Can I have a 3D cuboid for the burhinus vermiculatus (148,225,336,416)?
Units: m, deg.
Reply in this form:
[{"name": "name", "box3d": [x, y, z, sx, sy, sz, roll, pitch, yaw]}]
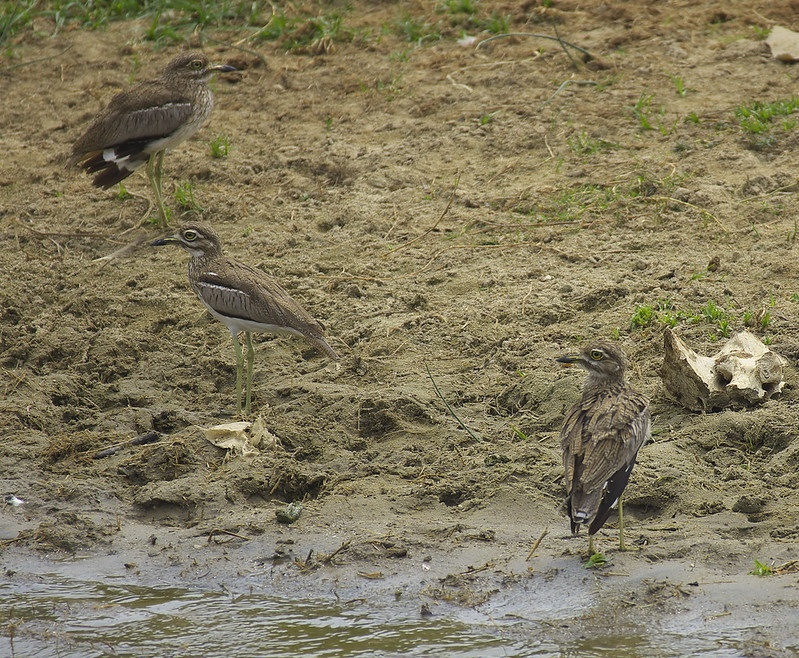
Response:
[{"name": "burhinus vermiculatus", "box3d": [-1.106, -0.084, 8.017, 0.554, 1.329, 1.317, -12, 18, -42]}]
